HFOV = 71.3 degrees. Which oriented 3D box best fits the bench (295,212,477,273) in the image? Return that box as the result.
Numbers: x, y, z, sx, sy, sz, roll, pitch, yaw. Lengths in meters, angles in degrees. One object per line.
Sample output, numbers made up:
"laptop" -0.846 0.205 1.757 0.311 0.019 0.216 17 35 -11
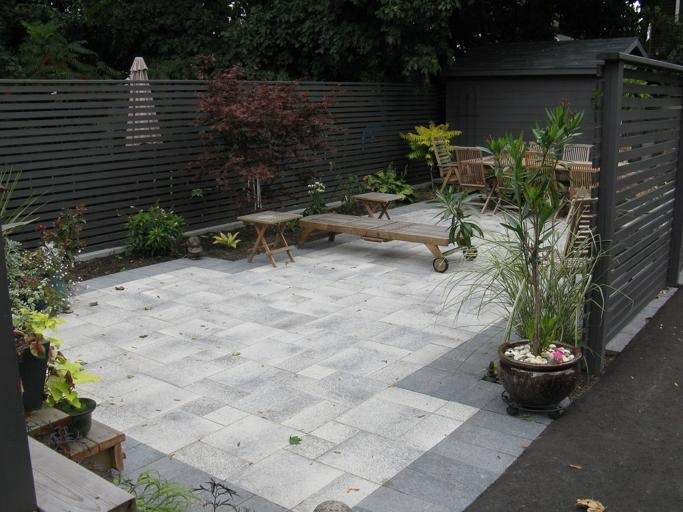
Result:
"bench" 0.634 -0.230 7.717 2.636 0.788 0.834 6 17 36
